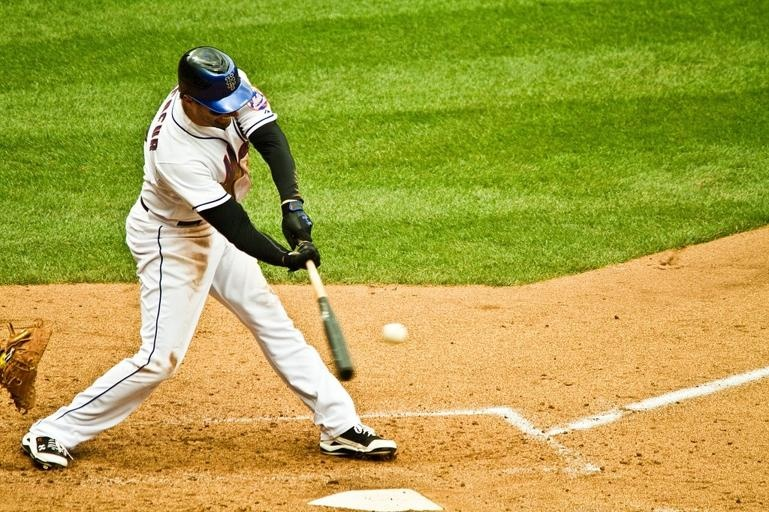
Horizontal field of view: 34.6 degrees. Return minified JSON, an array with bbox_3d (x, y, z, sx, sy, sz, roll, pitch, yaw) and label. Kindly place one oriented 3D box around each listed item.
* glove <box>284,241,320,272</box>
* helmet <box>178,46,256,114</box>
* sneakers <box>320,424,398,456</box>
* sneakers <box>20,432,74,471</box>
[{"bbox_3d":[-0.744,0.016,10.894,0.338,0.285,0.258,-10,21,-15],"label":"glove"},{"bbox_3d":[-1.531,-1.529,10.748,0.704,0.311,0.497,27,62,21],"label":"helmet"},{"bbox_3d":[-0.240,1.691,11.320,0.679,0.279,0.286,-1,-4,6],"label":"sneakers"},{"bbox_3d":[-3.034,1.765,11.052,0.469,0.230,0.220,10,-22,-23],"label":"sneakers"}]
